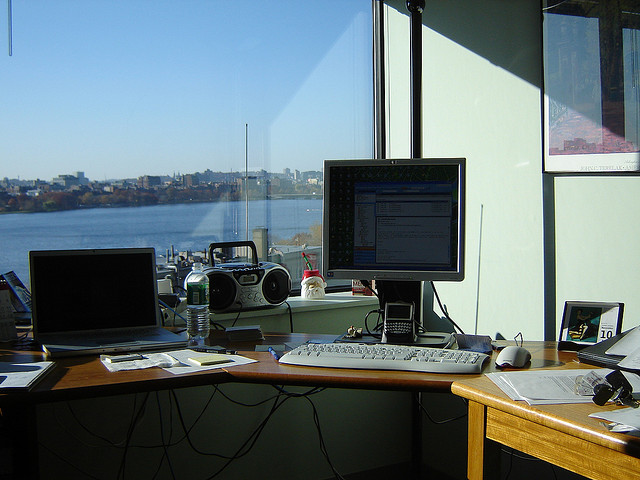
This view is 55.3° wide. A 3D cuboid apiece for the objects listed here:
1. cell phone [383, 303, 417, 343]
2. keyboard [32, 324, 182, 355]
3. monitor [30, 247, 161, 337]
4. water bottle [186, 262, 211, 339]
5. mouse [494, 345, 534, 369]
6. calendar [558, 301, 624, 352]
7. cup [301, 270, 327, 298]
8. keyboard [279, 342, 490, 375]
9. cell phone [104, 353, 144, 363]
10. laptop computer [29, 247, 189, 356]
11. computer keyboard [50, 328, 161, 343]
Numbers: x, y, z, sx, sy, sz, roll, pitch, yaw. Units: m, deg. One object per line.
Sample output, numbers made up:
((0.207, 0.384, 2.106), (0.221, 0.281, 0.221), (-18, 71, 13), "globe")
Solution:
((0.300, 0.298, 2.331), (0.132, 0.174, 0.100), (0, 20, 3), "cell phone")
((-0.796, 0.362, 2.309), (0.521, 0.083, 0.203), (-5, 7, -19), "keyboard")
((-0.792, 0.221, 2.284), (0.521, 0.352, 0.325), (-1, 6, -29), "monitor")
((-0.497, 0.235, 2.504), (0.096, 0.284, 0.258), (-4, 6, -10), "water bottle")
((0.646, 0.388, 2.049), (0.126, 0.066, 0.075), (-2, 6, 5), "mouse")
((0.957, 0.306, 2.163), (0.180, 0.182, 0.018), (2, -28, 23), "calendar")
((-0.034, 0.219, 3.089), (0.143, 0.138, 0.129), (-2, 0, 4), "cup")
((0.216, 0.400, 2.084), (0.703, 0.064, 0.150), (-1, 7, 9), "keyboard")
((-0.696, 0.415, 2.178), (0.122, 0.012, 0.096), (-6, 7, -27), "cell phone")
((-0.778, 0.206, 2.253), (0.517, 0.352, 0.441), (-1, -2, -27), "laptop computer")
((-0.812, 0.367, 2.337), (0.380, 0.026, 0.096), (-5, 7, -20), "computer keyboard")
